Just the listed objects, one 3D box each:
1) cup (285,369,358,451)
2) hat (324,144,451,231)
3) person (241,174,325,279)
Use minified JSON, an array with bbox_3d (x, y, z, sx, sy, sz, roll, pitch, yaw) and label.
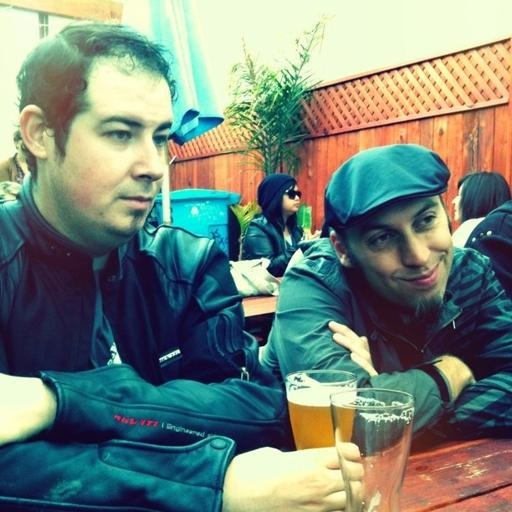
[{"bbox_3d":[0.110,0.296,1.035,0.143,0.186,0.159,-1,0,-1],"label":"cup"},{"bbox_3d":[0.423,-0.232,1.682,0.412,0.160,0.500,-23,0,2],"label":"hat"},{"bbox_3d":[0.327,-0.327,5.613,0.905,1.205,0.714,-3,5,-32],"label":"person"}]
